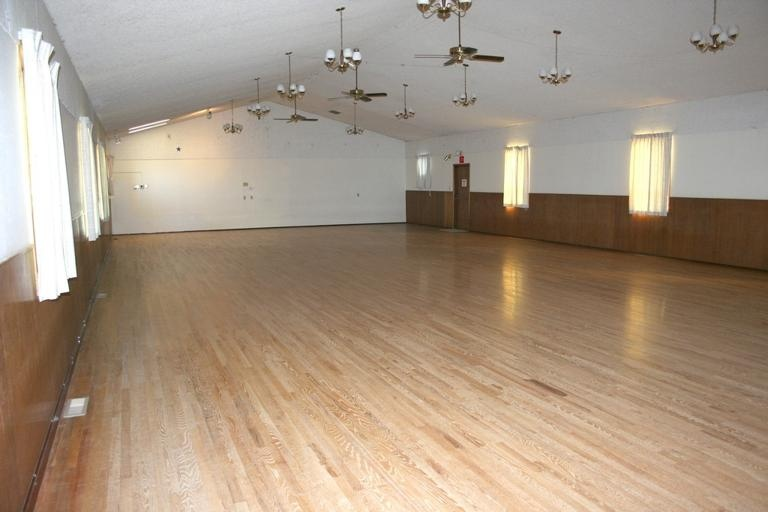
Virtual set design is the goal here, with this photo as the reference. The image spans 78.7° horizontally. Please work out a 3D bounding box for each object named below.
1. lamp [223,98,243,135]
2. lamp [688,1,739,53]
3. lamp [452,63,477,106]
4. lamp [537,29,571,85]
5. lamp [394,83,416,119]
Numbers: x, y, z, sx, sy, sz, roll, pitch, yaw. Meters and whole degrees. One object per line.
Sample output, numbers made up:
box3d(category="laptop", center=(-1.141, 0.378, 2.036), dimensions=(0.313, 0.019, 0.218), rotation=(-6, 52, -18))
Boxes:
box3d(category="lamp", center=(-5.883, -5.278, 18.299), dimensions=(0.706, 1.026, 1.176), rotation=(-8, 15, -27))
box3d(category="lamp", center=(5.287, -3.689, 7.478), dimensions=(0.563, 0.868, 1.623), rotation=(8, 16, 32))
box3d(category="lamp", center=(2.117, -4.427, 12.181), dimensions=(0.635, 1.029, 0.646), rotation=(-4, 13, -8))
box3d(category="lamp", center=(3.533, -4.063, 9.642), dimensions=(0.621, 1.058, 0.627), rotation=(7, 12, 28))
box3d(category="lamp", center=(0.706, -4.970, 15.447), dimensions=(0.737, 1.219, 0.743), rotation=(-21, 30, -34))
